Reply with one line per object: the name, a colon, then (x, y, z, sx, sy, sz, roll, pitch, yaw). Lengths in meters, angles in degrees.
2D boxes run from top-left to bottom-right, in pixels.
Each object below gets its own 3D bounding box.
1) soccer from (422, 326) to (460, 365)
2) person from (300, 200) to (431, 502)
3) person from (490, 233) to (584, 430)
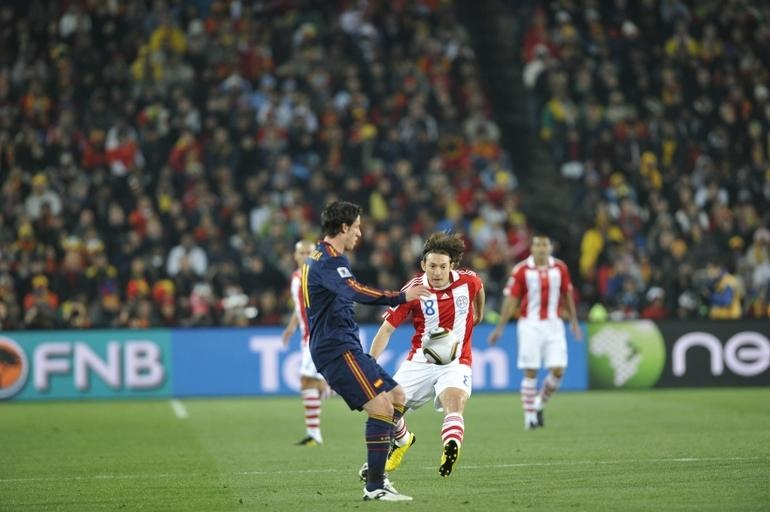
soccer: (0.716, 1.093, 15.956, 0.419, 0.461, 0.418, 0, 12, 0)
person: (-0.372, 1.144, 15.624, 1.255, 3.642, 0.623, -1, -2, -5)
person: (2.206, 1.058, 18.127, 1.051, 2.685, 0.432, -2, -2, 8)
